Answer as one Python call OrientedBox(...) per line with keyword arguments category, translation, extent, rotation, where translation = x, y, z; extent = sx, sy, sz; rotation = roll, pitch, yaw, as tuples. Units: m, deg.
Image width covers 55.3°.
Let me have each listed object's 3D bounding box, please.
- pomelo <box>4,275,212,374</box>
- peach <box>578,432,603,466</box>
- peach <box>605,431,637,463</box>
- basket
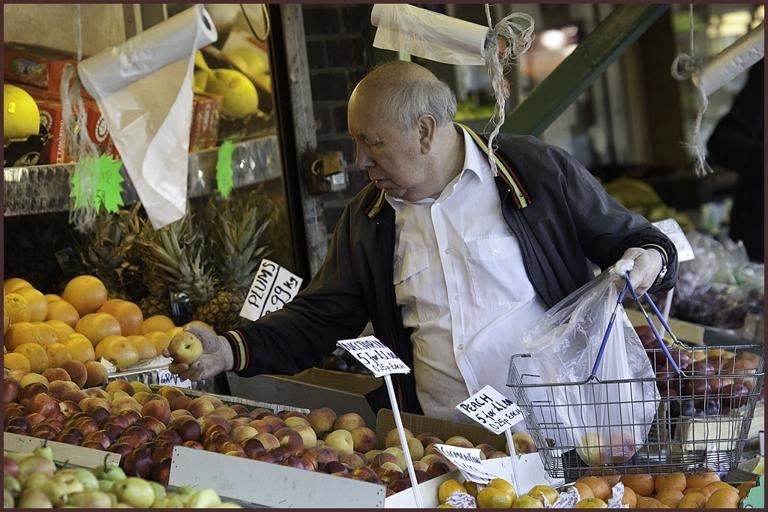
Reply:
OrientedBox(category="pomelo", translation=(-1.683, 0.367, 4.055), extent=(0.699, 0.248, 0.708), rotation=(1, 24, -46))
OrientedBox(category="peach", translation=(0.760, 0.710, 2.698), extent=(0.085, 0.079, 0.111), rotation=(-2, 32, 7))
OrientedBox(category="peach", translation=(0.869, 0.704, 2.736), extent=(0.116, 0.099, 0.055), rotation=(-21, 5, 4))
OrientedBox(category="basket", translation=(1.048, 0.468, 2.967), extent=(1.298, 0.808, 0.887), rotation=(2, -1, -45))
